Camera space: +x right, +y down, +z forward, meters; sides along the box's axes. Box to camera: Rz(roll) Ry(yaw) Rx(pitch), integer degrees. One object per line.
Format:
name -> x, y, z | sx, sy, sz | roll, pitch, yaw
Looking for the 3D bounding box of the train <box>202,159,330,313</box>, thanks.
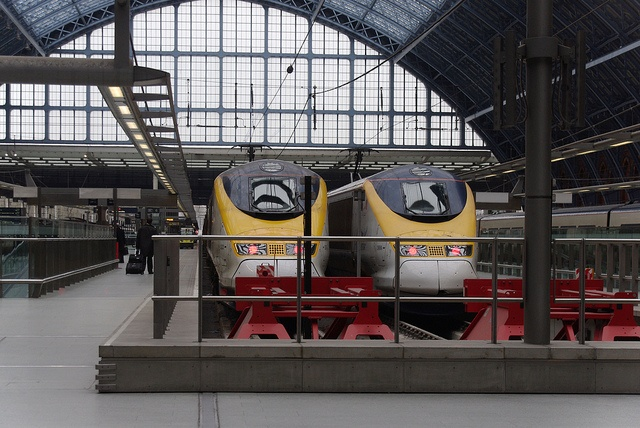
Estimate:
train -> -1.452, 0.301, 18.765 | 2.997, 3.709, 4.691 | 0, -1, -10
